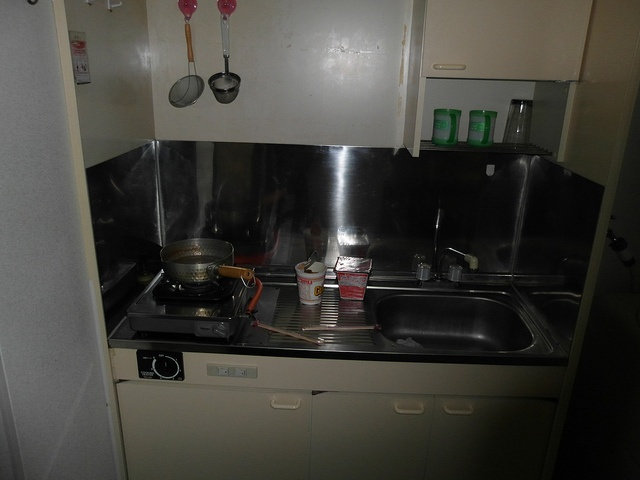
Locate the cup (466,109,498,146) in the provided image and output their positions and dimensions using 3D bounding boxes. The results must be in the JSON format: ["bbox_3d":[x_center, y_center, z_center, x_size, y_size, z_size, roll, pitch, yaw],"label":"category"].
[{"bbox_3d":[0.673,-0.470,2.085,0.100,0.157,0.144,2,-64,9],"label":"cup"}]

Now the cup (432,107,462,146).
[{"bbox_3d":[0.517,-0.466,2.081,0.102,0.158,0.145,1,-63,4],"label":"cup"}]

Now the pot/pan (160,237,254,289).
[{"bbox_3d":[-0.500,0.101,2.179,0.356,0.220,0.114,20,-64,27],"label":"pot/pan"}]

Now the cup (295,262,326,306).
[{"bbox_3d":[-0.016,0.201,2.414,0.169,0.174,0.191,2,-72,5],"label":"cup"}]
